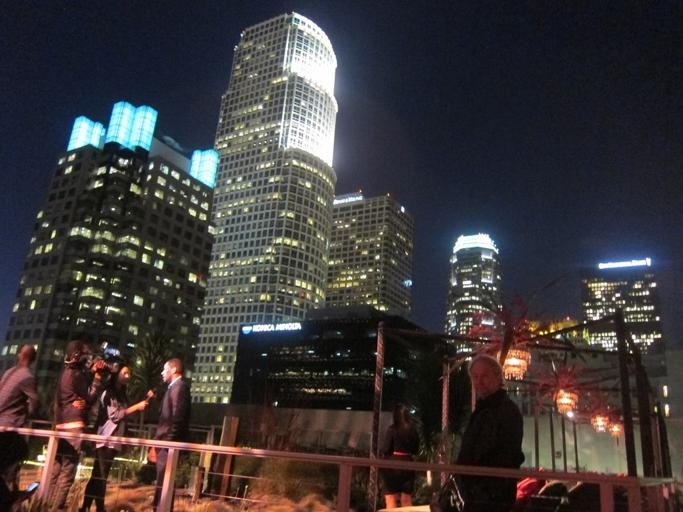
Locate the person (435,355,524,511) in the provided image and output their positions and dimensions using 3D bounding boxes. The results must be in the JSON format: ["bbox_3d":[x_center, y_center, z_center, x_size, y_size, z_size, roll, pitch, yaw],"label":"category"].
[{"bbox_3d":[1.793,2.221,7.064,0.973,1.944,0.460,-2,-22,16],"label":"person"}]

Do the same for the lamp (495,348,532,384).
[{"bbox_3d":[5.251,3.075,16.905,0.952,0.823,0.988,-4,-4,12],"label":"lamp"}]

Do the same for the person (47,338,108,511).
[{"bbox_3d":[-4.611,2.803,9.416,0.738,2.759,0.978,12,-23,-20],"label":"person"}]
